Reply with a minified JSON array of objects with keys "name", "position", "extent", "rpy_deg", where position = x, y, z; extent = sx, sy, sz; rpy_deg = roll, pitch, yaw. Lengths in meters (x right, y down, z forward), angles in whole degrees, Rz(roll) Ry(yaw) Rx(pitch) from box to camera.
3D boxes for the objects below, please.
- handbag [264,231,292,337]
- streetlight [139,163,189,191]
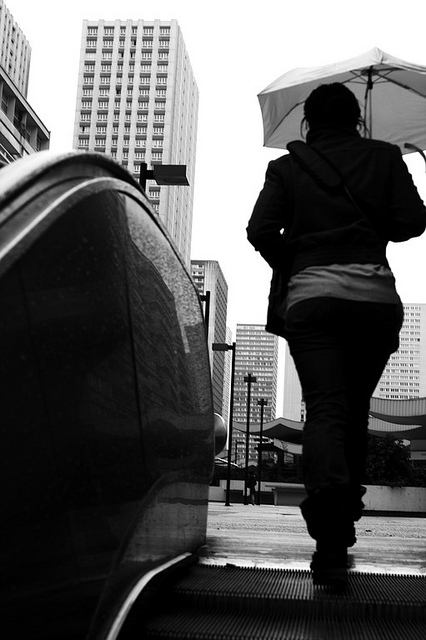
[{"name":"handbag","position":[0.255,-0.152,2.583],"extent":[0.084,0.114,0.427],"rpy_deg":[-2,34,17]},{"name":"streetlight","position":[-0.815,-2.346,10.654],"extent":[0.672,0.447,1.121],"rpy_deg":[4,3,-12]}]
